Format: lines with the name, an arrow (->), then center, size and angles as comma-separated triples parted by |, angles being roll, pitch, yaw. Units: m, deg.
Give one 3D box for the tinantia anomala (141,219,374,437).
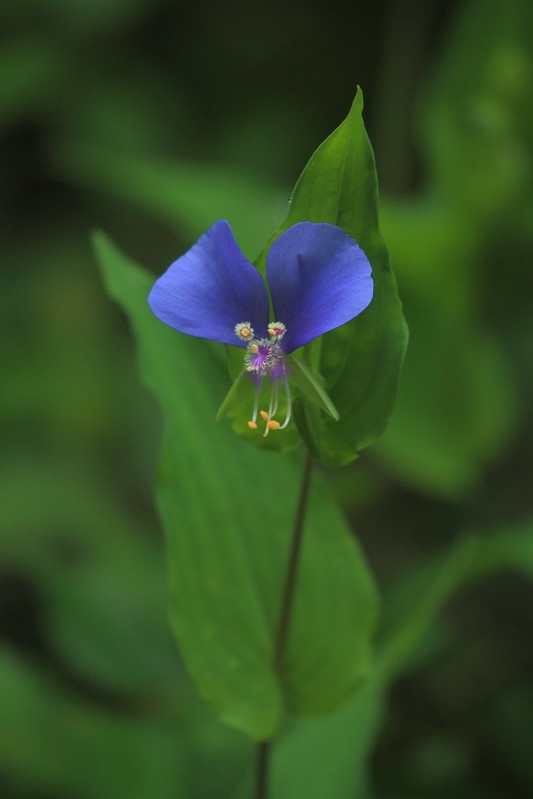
tinantia anomala -> 0.000, -0.044, 0.538 | 0.160, 0.079, 0.139 | 4, 108, 26
